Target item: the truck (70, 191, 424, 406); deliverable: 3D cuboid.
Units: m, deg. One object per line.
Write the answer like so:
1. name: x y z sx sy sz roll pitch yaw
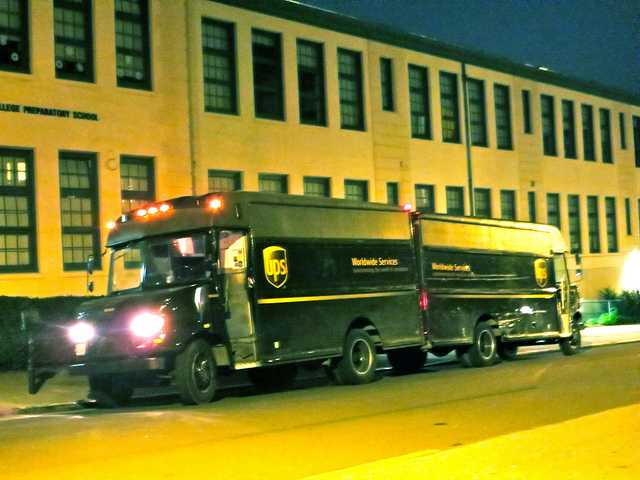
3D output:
1. truck: -1.177 1.311 18.370 3.345 4.202 9.211 -9 -6 37

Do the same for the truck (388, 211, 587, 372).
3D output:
1. truck: 4.910 1.634 23.185 7.863 3.753 2.778 4 -12 -42
